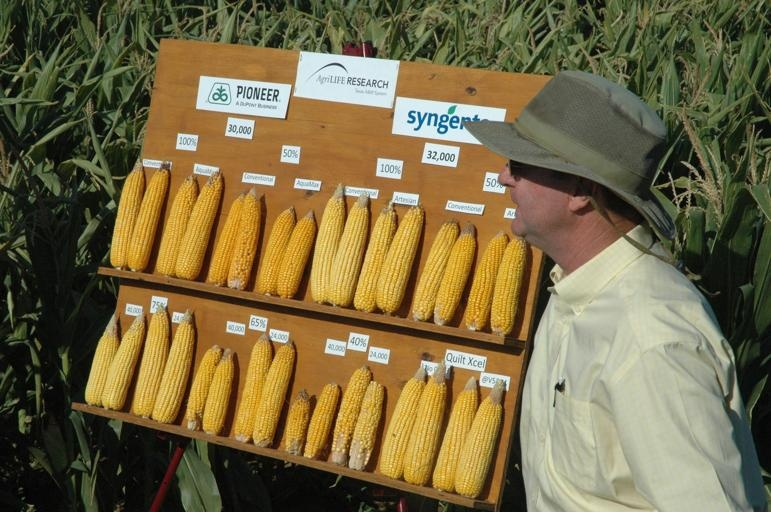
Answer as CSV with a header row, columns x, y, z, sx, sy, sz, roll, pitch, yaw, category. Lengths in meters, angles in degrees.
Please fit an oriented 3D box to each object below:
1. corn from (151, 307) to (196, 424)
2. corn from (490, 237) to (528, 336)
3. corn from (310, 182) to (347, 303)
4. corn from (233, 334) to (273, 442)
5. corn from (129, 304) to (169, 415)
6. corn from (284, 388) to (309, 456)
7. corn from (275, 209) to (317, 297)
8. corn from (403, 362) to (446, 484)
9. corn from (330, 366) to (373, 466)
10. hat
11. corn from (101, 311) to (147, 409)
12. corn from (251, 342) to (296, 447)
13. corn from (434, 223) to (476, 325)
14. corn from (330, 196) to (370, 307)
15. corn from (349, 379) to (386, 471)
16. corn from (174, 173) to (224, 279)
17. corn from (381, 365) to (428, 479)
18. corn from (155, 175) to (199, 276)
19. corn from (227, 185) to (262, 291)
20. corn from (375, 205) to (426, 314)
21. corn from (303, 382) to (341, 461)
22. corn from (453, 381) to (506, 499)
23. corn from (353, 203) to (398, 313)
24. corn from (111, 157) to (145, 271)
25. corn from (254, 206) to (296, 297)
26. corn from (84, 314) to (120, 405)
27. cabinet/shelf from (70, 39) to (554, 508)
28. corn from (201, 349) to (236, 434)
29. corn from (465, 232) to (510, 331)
x,y,z,sx,sy,sz,roll,pitch,yaw,category
-1.266,0.705,4.620,0.162,0.163,0.742,13,80,3,corn
0.696,0.175,4.298,0.149,0.160,0.632,14,82,1,corn
-0.340,-0.060,4.480,0.149,0.150,0.770,10,83,19,corn
-0.758,0.774,4.530,0.161,0.161,0.737,17,79,-29,corn
-1.417,0.644,4.630,0.172,0.153,0.713,0,78,43,corn
-0.512,0.977,4.421,0.108,0.117,0.419,5,82,25,corn
-0.533,0.016,4.495,0.142,0.159,0.593,5,75,42,corn
0.233,0.992,4.315,0.171,0.164,0.728,9,79,18,corn
-0.211,0.926,4.398,0.158,0.161,0.673,12,89,11,corn
0.885,-0.434,3.714,0.773,0.813,0.446,26,108,5,hat
-1.594,0.675,4.649,0.156,0.144,0.658,15,82,25,corn
-0.657,0.824,4.490,0.171,0.173,0.704,18,80,-22,corn
0.398,0.118,4.339,0.149,0.154,0.681,10,78,38,corn
-0.207,-0.019,4.453,0.157,0.164,0.709,17,78,-2,corn
-0.110,0.989,4.382,0.150,0.153,0.565,9,81,33,corn
-1.129,-0.164,4.623,0.181,0.174,0.771,14,80,-7,corn
0.088,0.999,4.347,0.170,0.176,0.714,18,83,-16,corn
-1.274,-0.192,4.650,0.162,0.172,0.767,10,82,18,corn
-0.837,-0.096,4.579,0.150,0.142,0.642,6,80,21,corn
0.088,0.014,4.395,0.153,0.188,0.728,18,77,3,corn
-0.369,0.968,4.416,0.136,0.140,0.522,7,78,41,corn
0.531,1.069,4.287,0.178,0.164,0.726,21,87,0,corn
-0.054,0.000,4.426,0.147,0.153,0.792,16,85,1,corn
-1.608,-0.258,4.705,0.144,0.146,0.751,7,84,11,corn
-0.659,-0.017,4.522,0.154,0.145,0.650,14,87,5,corn
-1.730,0.655,4.651,0.132,0.159,0.621,19,80,-38,corn
-0.292,-0.461,4.122,2.720,0.723,2.952,8,89,8,cabinet/shelf
-0.994,0.837,4.529,0.136,0.145,0.534,8,84,42,corn
0.572,0.141,4.322,0.165,0.146,0.668,20,87,-25,corn
